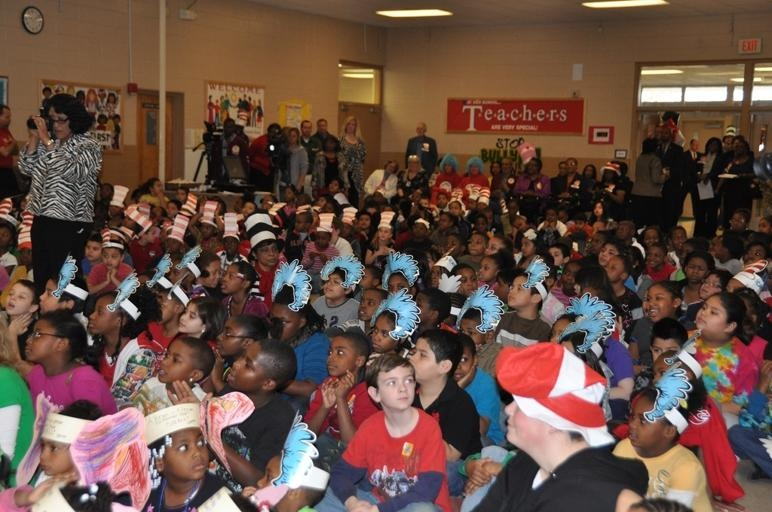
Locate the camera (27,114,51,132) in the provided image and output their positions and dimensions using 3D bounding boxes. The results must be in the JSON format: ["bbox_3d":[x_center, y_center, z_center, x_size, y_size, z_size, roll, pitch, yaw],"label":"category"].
[{"bbox_3d":[-2.758,-1.067,4.777,0.187,0.146,0.234,-1,7,-42],"label":"camera"}]

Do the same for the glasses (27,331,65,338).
[{"bbox_3d":[-1.931,0.450,3.410,0.189,0.043,0.040,4,10,6],"label":"glasses"}]

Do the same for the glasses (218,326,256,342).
[{"bbox_3d":[-0.962,0.506,3.841,0.214,0.096,0.057,3,10,1],"label":"glasses"}]

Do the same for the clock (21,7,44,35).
[{"bbox_3d":[-5.989,-4.024,10.195,0.093,0.470,0.352,9,12,32],"label":"clock"}]
